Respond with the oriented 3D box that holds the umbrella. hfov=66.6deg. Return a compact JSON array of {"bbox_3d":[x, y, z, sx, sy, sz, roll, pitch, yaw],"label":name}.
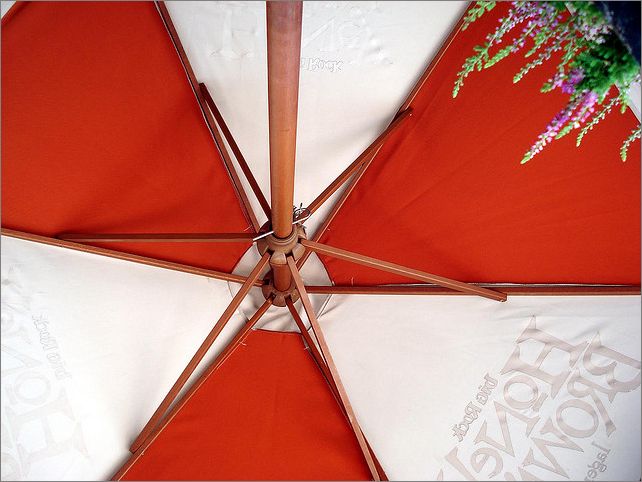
[{"bbox_3d":[-0.020,0.027,3.750,2.519,2.716,2.580,-7,-72,23],"label":"umbrella"}]
